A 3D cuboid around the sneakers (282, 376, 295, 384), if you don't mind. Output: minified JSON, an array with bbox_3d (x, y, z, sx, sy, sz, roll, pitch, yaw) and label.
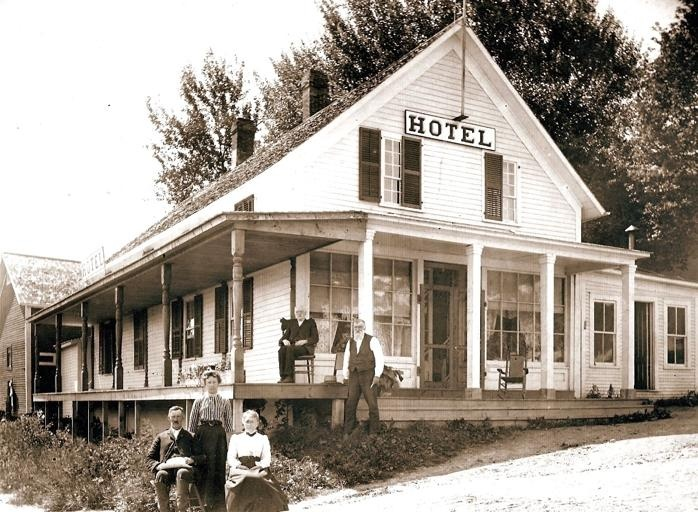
[{"bbox_3d":[-1.592,3.227,26.183,0.169,0.160,0.223,11,-15,-21],"label":"sneakers"}]

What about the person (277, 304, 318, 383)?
[{"bbox_3d":[-1.475,2.346,26.641,0.952,2.231,1.233,-5,-14,33],"label":"person"}]

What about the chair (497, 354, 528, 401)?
[{"bbox_3d":[4.779,3.397,28.896,0.896,1.324,0.966,-4,-11,44],"label":"chair"}]

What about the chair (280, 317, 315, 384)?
[{"bbox_3d":[-1.379,2.490,26.597,0.994,1.776,0.627,0,-13,-3],"label":"chair"}]
